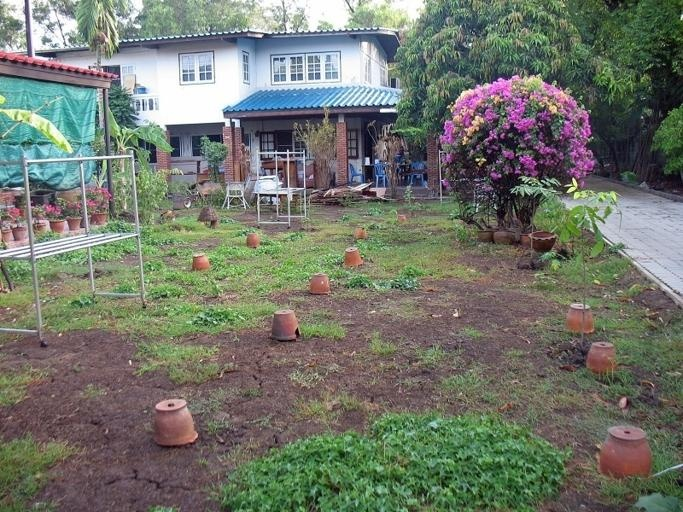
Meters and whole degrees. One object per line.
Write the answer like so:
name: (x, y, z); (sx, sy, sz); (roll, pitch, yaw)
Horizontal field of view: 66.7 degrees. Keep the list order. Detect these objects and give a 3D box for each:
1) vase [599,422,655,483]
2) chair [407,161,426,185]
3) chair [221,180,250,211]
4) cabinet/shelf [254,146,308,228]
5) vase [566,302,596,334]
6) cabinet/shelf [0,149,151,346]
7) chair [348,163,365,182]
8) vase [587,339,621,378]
vase: (1.843, 1.268, 3.374); (0.335, 0.314, 0.365); (-4, 9, 5)
chair: (3.296, -3.519, 22.470); (0.679, 0.909, 2.949); (1, 15, 8)
chair: (-3.734, -2.106, 18.196); (0.860, 1.517, 1.027); (0, 2, -12)
cabinet/shelf: (-1.971, -2.206, 17.024); (1.162, 2.831, 3.366); (0, 8, 1)
vase: (2.472, 0.633, 5.232); (0.279, 0.315, 0.299); (-2, 5, -6)
cabinet/shelf: (-4.305, -0.221, 8.244); (1.214, 3.289, 2.702); (3, 9, 11)
chair: (0.574, -3.542, 22.270); (0.755, 1.124, 0.692); (5, 14, 30)
vase: (2.231, 0.863, 4.490); (0.231, 0.254, 0.245); (0, 8, -14)
